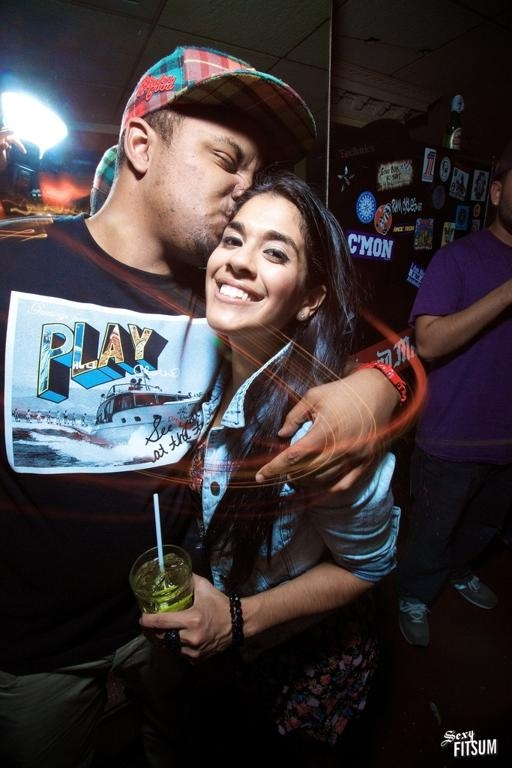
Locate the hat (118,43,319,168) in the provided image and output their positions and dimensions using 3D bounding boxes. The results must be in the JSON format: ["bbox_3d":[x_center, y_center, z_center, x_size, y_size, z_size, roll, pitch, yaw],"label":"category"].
[{"bbox_3d":[-0.064,-0.727,1.451,0.375,0.189,0.273,-9,-10,40],"label":"hat"}]

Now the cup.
[{"bbox_3d":[-0.219,0.474,1.437,0.154,0.132,0.171,-6,49,6],"label":"cup"}]

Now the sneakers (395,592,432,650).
[{"bbox_3d":[0.652,0.972,2.357,0.082,0.084,0.216,-3,33,0],"label":"sneakers"}]

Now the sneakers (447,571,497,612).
[{"bbox_3d":[0.966,0.916,2.539,0.091,0.072,0.187,-40,35,-26],"label":"sneakers"}]
